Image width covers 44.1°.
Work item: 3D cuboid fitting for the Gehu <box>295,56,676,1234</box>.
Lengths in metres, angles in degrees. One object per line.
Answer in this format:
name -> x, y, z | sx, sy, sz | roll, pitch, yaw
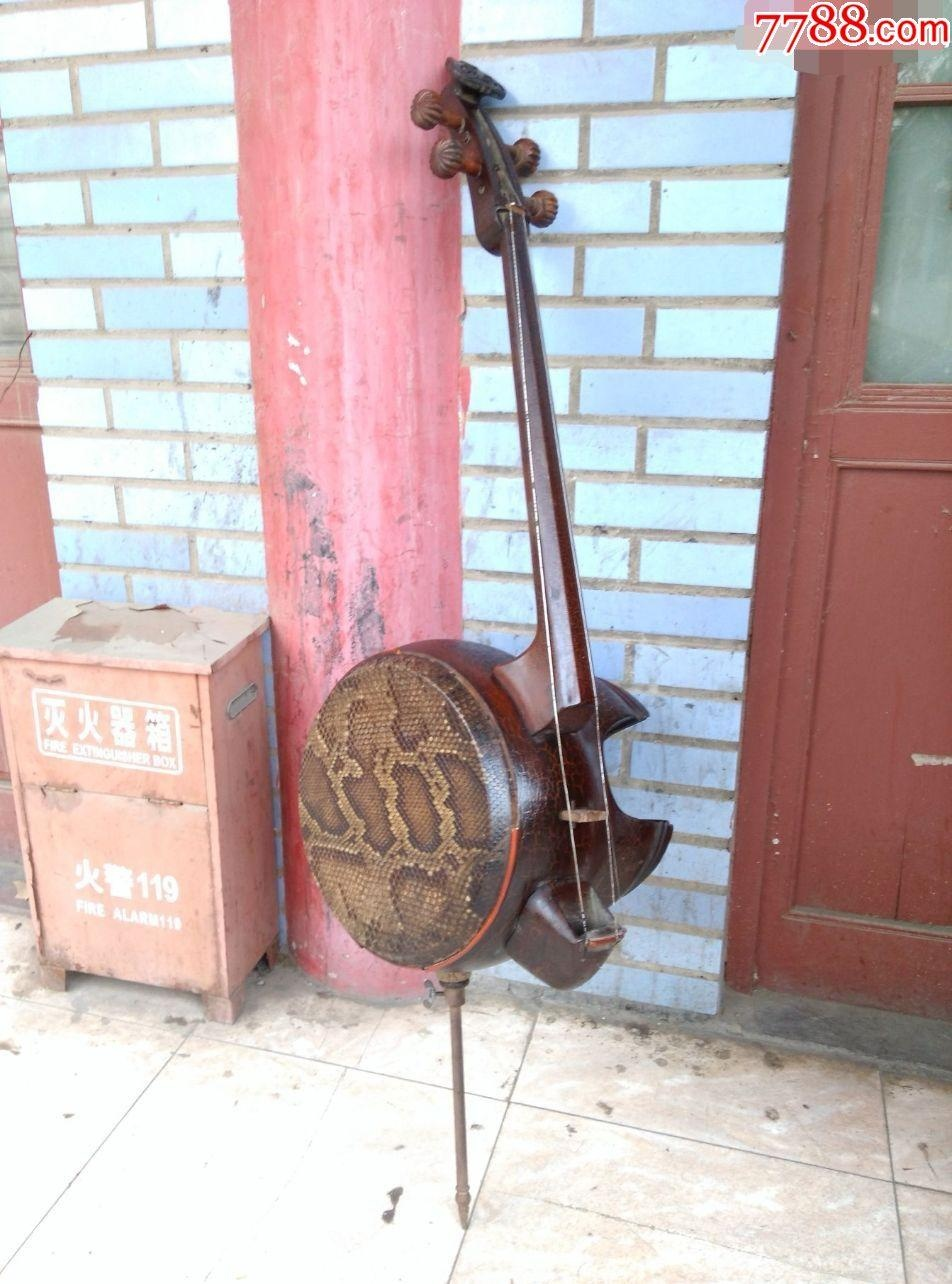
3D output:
Gehu -> 0.070, 0.057, 1.971 | 0.585, 1.828, 0.656 | -21, 29, -40
